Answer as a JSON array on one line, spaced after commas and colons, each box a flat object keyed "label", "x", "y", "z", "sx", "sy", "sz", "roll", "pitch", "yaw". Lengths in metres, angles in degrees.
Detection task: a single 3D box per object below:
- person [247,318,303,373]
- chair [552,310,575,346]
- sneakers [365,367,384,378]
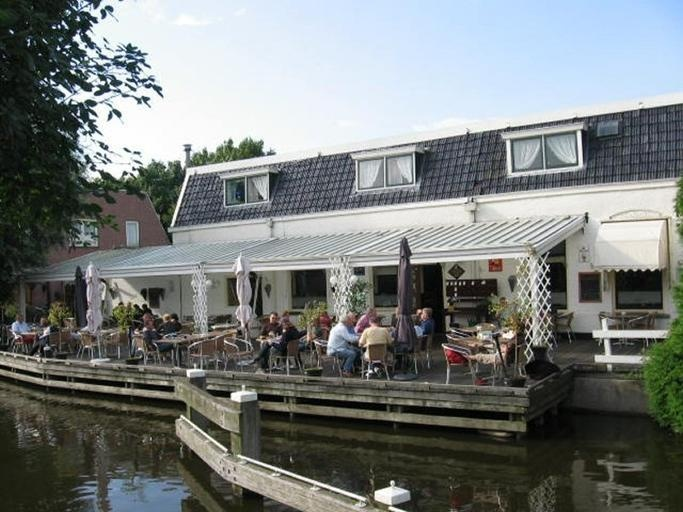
[{"label": "person", "x": -1.578, "y": 2.045, "z": 17.847, "sx": 1.041, "sy": 1.298, "sz": 0.728, "roll": 9, "pitch": 5, "yaw": 24}, {"label": "chair", "x": 6.033, "y": 1.951, "z": 20.730, "sx": 0.689, "sy": 1.093, "sz": 0.888, "roll": 1, "pitch": -3, "yaw": 20}, {"label": "sneakers", "x": 0.722, "y": 2.568, "z": 16.692, "sx": 0.195, "sy": 0.238, "sz": 0.411, "roll": -2, "pitch": -15, "yaw": 9}]
